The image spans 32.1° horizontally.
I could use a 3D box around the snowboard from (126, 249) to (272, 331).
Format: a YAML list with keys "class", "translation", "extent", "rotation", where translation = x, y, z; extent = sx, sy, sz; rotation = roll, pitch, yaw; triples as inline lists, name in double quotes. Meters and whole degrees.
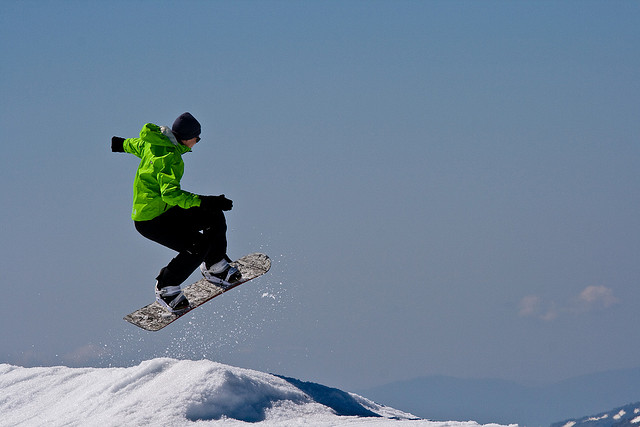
- class: "snowboard"
  translation: [-1.840, 1.017, 15.628]
  extent: [0.600, 2.322, 0.365]
  rotation: [35, -41, 38]

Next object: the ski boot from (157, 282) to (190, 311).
- class: "ski boot"
  translation: [-2.158, 1.290, 16.553]
  extent: [0.608, 0.235, 0.237]
  rotation: [30, -52, 7]
